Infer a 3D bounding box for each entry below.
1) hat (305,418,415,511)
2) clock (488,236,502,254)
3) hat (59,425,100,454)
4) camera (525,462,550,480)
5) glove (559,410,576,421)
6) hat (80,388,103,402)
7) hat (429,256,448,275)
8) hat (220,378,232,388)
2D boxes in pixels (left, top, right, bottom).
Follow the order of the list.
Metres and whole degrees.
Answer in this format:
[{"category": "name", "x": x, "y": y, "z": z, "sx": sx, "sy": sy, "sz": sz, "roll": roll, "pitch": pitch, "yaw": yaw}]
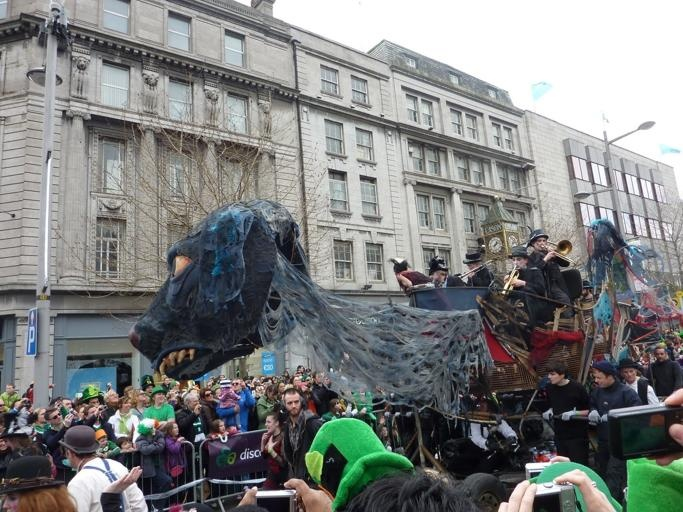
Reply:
[{"category": "hat", "x": 0.127, "y": 1.957, "z": 6.518, "sx": 0.791, "sy": 0.688, "sz": 0.931, "roll": 3, "pitch": -40, "yaw": -47}, {"category": "clock", "x": 7.404, "y": -0.590, "z": 32.101, "sx": 0.170, "sy": 0.613, "sz": 0.683, "roll": 10, "pitch": 0, "yaw": -25}, {"category": "hat", "x": -3.203, "y": 2.237, "z": 8.211, "sx": 0.416, "sy": 0.150, "sz": 0.357, "roll": 15, "pitch": 5, "yaw": 34}, {"category": "camera", "x": 2.053, "y": 2.233, "z": 7.024, "sx": 0.263, "sy": 0.148, "sz": 0.239, "roll": -1, "pitch": -5, "yaw": 8}, {"category": "glove", "x": 3.377, "y": 2.354, "z": 10.005, "sx": 0.185, "sy": 0.078, "sz": 0.206, "roll": 0, "pitch": -6, "yaw": 4}, {"category": "hat", "x": -4.810, "y": 2.624, "z": 12.775, "sx": 0.391, "sy": 0.118, "sz": 0.301, "roll": -12, "pitch": -11, "yaw": 35}, {"category": "hat", "x": 1.961, "y": 0.150, "z": 12.729, "sx": 0.483, "sy": 0.313, "sz": 0.375, "roll": 7, "pitch": -8, "yaw": -10}, {"category": "hat", "x": -2.292, "y": 2.512, "z": 13.296, "sx": 0.178, "sy": 0.095, "sz": 0.154, "roll": -3, "pitch": -5, "yaw": 8}]
